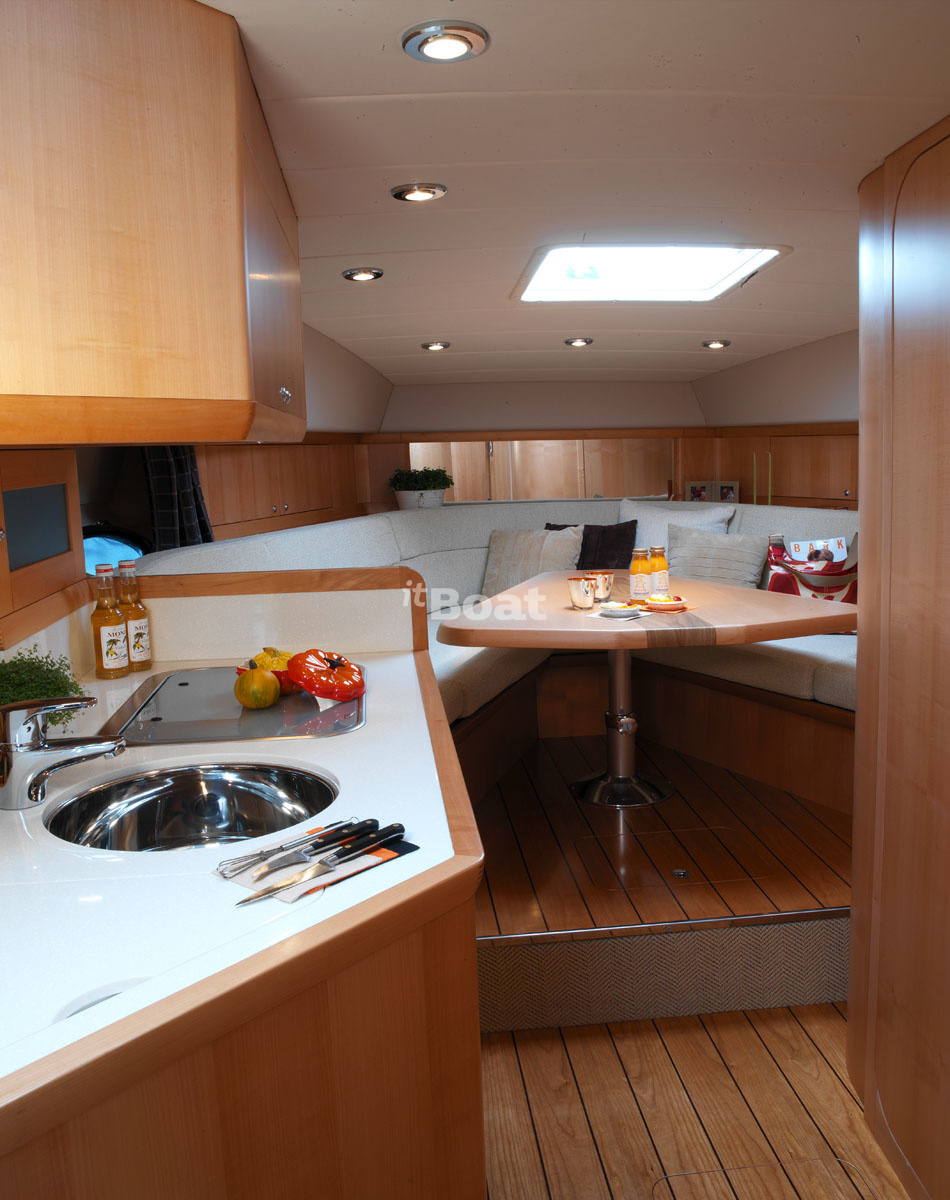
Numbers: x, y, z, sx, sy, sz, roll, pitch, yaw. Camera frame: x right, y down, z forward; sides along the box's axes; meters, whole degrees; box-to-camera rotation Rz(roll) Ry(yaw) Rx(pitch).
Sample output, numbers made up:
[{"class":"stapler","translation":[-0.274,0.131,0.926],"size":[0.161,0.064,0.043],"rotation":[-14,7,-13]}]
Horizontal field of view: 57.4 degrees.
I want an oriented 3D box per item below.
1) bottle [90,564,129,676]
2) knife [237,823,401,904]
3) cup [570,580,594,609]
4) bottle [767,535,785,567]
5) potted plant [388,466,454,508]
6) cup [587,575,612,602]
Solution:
[{"class":"bottle","translation":[-0.804,0.043,1.925],"size":[0.073,0.245,0.148],"rotation":[-4,9,-22]},{"class":"knife","translation":[-0.150,0.264,0.917],"size":[0.051,0.017,0.161],"rotation":[11,19,36]},{"class":"cup","translation":[0.335,-0.017,2.745],"size":[0.082,0.082,0.082],"rotation":[0,0,0]},{"class":"bottle","translation":[1.307,-0.226,3.772],"size":[0.094,0.054,0.152],"rotation":[1,37,16]},{"class":"potted plant","translation":[-0.329,-0.662,5.249],"size":[0.290,0.197,0.296],"rotation":[1,5,41]},{"class":"cup","translation":[0.401,-0.041,2.786],"size":[0.089,0.099,0.088],"rotation":[-2,8,0]}]
